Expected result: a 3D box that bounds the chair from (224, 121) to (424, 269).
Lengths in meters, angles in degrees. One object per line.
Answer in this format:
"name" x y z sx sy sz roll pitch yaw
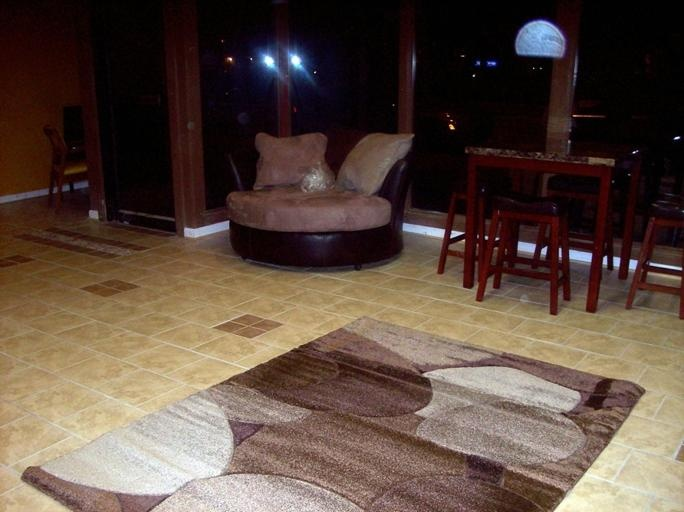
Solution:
"chair" -0.090 -0.519 4.861 1.941 1.042 1.433 8 22 23
